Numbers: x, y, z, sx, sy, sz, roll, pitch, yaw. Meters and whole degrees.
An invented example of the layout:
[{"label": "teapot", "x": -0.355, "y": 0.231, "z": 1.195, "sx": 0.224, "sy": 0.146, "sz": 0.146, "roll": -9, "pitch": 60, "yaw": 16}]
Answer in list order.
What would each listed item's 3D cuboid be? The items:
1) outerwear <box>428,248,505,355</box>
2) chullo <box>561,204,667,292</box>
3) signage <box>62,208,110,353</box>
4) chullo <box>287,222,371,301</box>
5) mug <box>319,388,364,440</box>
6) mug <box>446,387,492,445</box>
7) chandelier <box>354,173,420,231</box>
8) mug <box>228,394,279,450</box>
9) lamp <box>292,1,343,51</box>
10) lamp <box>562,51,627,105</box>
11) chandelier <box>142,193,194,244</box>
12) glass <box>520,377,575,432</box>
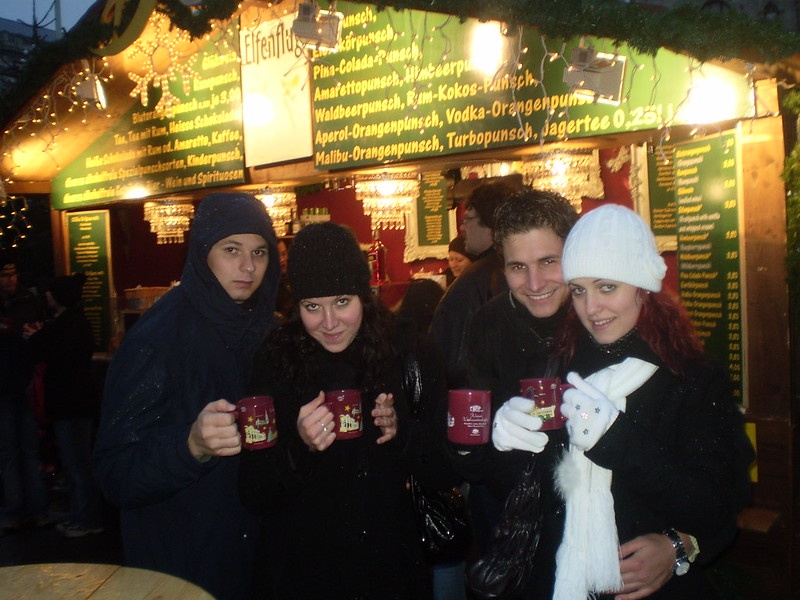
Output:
[{"label": "outerwear", "x": 0.439, "y": 0.013, "z": 4.272, "sx": 0.381, "sy": 0.694, "sz": 0.718, "roll": 12, "pitch": 11, "yaw": 29}, {"label": "chullo", "x": 0.899, "y": -0.188, "z": 2.887, "sx": 0.388, "sy": 0.370, "sz": 0.354, "roll": 4, "pitch": -2, "yaw": -24}, {"label": "signage", "x": -3.876, "y": -0.364, "z": 8.201, "sx": 0.544, "sy": 1.600, "sz": 0.039, "roll": -2, "pitch": -14, "yaw": -21}, {"label": "chullo", "x": -0.355, "y": -0.172, "z": 3.254, "sx": 0.331, "sy": 0.306, "sz": 0.364, "roll": -9, "pitch": -10, "yaw": -8}, {"label": "mug", "x": -0.265, "y": 0.528, "z": 3.026, "sx": 0.172, "sy": 0.203, "sz": 0.182, "roll": -3, "pitch": -10, "yaw": 8}, {"label": "mug", "x": 0.306, "y": 0.517, "z": 3.019, "sx": 0.210, "sy": 0.251, "sz": 0.219, "roll": 1, "pitch": 2, "yaw": 2}, {"label": "chandelier", "x": -0.235, "y": -1.185, "z": 7.623, "sx": 0.745, "sy": 0.686, "sz": 0.756, "roll": -14, "pitch": 29, "yaw": -38}, {"label": "mug", "x": -0.666, "y": 0.555, "z": 3.004, "sx": 0.247, "sy": 0.197, "sz": 0.161, "roll": -3, "pitch": 0, "yaw": 41}, {"label": "lamp", "x": -0.504, "y": -1.753, "z": 4.346, "sx": 0.295, "sy": 0.303, "sz": 0.299, "roll": 15, "pitch": -24, "yaw": 5}, {"label": "lamp", "x": 1.295, "y": -1.507, "z": 4.302, "sx": 0.282, "sy": 0.097, "sz": 0.273, "roll": 31, "pitch": -24, "yaw": 19}, {"label": "chandelier", "x": -2.835, "y": -0.974, "z": 8.185, "sx": 0.700, "sy": 0.678, "sz": 0.699, "roll": -2, "pitch": 2, "yaw": -38}, {"label": "glass", "x": 0.613, "y": 0.433, "z": 2.772, "sx": 0.236, "sy": 0.220, "sz": 0.143, "roll": -2, "pitch": -4, "yaw": -16}]
